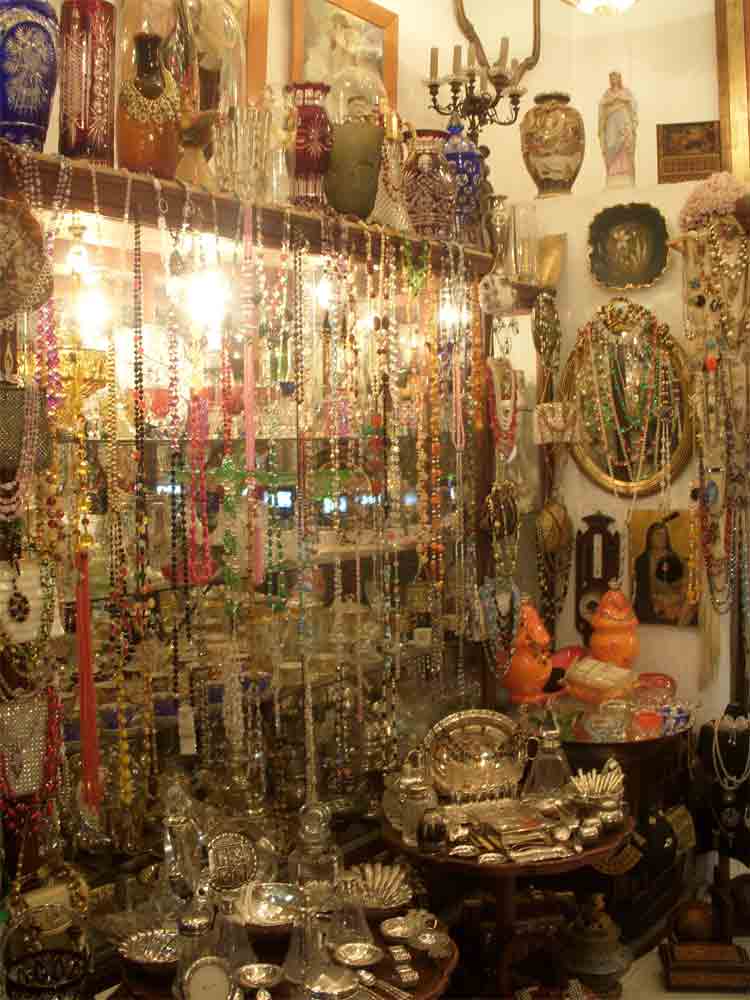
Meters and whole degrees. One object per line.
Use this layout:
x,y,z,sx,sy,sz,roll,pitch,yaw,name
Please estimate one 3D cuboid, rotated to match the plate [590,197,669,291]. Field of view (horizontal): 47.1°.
1.034,-1.125,3.536,0.258,0.073,0.311,3,-5,22,plate
